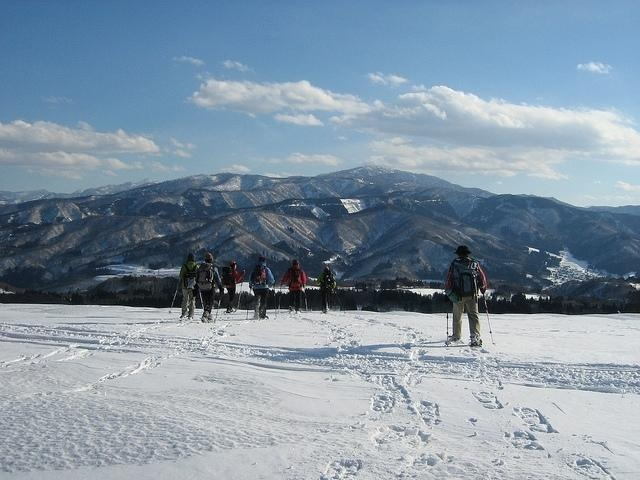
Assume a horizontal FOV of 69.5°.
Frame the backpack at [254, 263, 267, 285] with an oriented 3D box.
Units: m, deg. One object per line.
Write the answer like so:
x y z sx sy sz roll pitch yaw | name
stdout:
-2.953 1.696 22.790 0.624 0.963 0.352 1 -3 -9 | backpack

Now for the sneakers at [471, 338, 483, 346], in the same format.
4.953 3.216 14.589 0.269 0.118 0.286 -4 -3 -23 | sneakers

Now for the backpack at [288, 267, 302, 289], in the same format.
-1.305 2.078 25.158 0.806 1.137 0.494 1 -3 -6 | backpack

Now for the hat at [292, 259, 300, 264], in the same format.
-1.340 1.201 25.046 0.346 0.275 0.346 -1 4 -18 | hat
